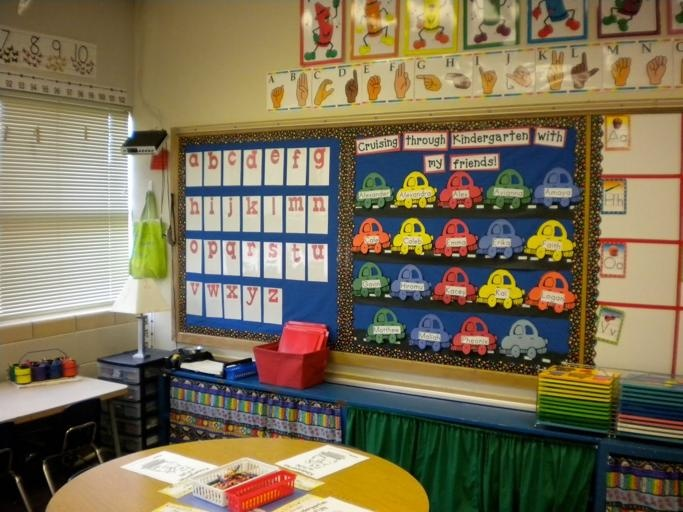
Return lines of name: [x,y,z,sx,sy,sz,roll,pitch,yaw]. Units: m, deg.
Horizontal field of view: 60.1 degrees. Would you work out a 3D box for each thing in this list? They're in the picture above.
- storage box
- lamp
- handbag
storage box: [-0.378,0.777,4.201,0.418,0.213,0.286,2,1,30]
lamp: [-1.563,0.482,4.710,0.402,0.646,0.563,2,4,3]
handbag: [-1.633,-0.179,4.968,0.293,0.755,0.194,4,5,37]
